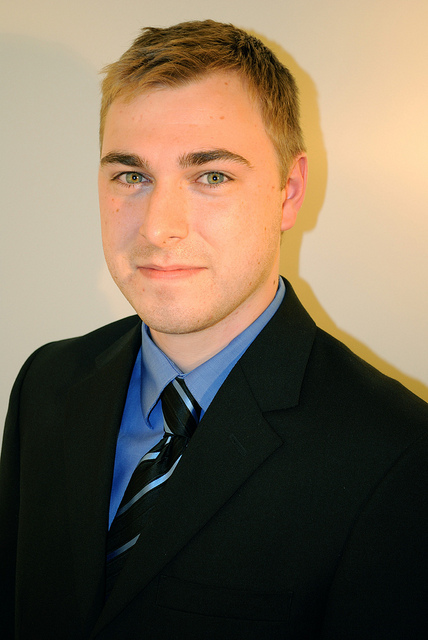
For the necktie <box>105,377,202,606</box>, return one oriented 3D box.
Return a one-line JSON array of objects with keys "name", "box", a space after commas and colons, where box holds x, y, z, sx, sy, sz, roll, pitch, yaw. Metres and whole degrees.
[{"name": "necktie", "box": [-0.126, 0.307, 1.262, 0.535, 0.120, 0.075, -62, -9, -45]}]
